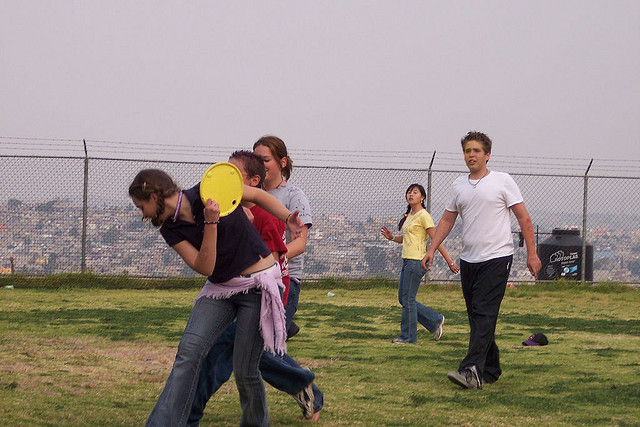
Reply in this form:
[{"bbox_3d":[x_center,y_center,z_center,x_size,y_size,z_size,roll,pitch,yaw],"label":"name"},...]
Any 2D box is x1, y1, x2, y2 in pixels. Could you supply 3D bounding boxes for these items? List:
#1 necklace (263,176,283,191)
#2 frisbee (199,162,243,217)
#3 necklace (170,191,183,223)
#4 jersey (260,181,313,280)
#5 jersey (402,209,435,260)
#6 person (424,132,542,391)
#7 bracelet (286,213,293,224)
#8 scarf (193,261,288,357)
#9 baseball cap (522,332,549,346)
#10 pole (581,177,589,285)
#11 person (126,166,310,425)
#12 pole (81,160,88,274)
[{"bbox_3d":[-0.469,-0.306,7.853,0.131,0.152,0.036,-2,-14,1],"label":"necklace"},{"bbox_3d":[-0.885,-0.230,6.854,0.426,0.454,0.443,7,32,4],"label":"frisbee"},{"bbox_3d":[-1.238,-0.041,6.727,0.050,0.202,0.155,5,2,2],"label":"necklace"},{"bbox_3d":[-0.400,0.138,8.027,0.771,0.981,0.337,-2,17,35],"label":"jersey"},{"bbox_3d":[1.392,0.311,10.746,0.312,0.651,0.640,16,-22,-30],"label":"jersey"},{"bbox_3d":[1.972,0.517,8.648,0.893,2.844,0.890,2,4,11],"label":"person"},{"bbox_3d":[-0.270,0.048,7.044,0.057,0.078,0.023,1,4,0],"label":"bracelet"},{"bbox_3d":[-0.739,0.736,7.090,0.840,1.011,0.735,4,20,17],"label":"scarf"},{"bbox_3d":[2.989,1.744,10.567,0.252,0.106,0.166,-4,-1,-9],"label":"baseball cap"},{"bbox_3d":[5.615,0.382,16.143,0.090,2.247,0.287,2,4,19],"label":"pole"},{"bbox_3d":[-0.917,0.778,6.909,1.450,2.305,0.419,0,4,-16],"label":"person"},{"bbox_3d":[-4.553,0.079,14.854,0.100,2.203,0.195,0,4,-13],"label":"pole"}]
